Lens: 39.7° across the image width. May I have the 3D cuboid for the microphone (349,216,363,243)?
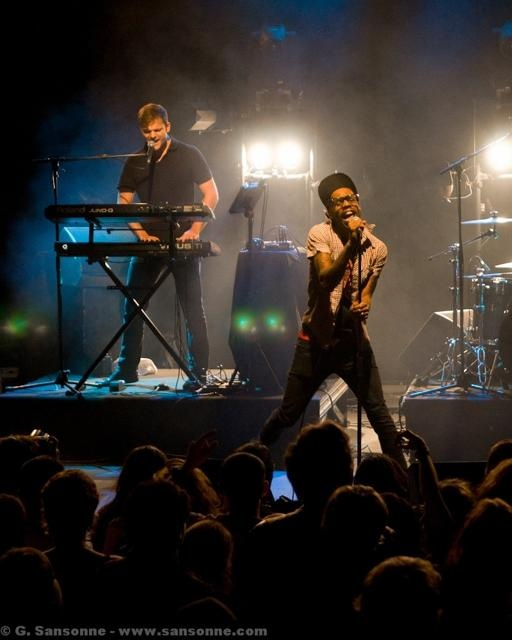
[{"bbox_3d":[0.431,-0.395,3.038,0.035,0.094,0.074,-4,-5,38],"label":"microphone"}]

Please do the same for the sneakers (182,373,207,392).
[{"bbox_3d":[-0.392,0.412,4.629,0.150,0.091,0.319,3,4,4],"label":"sneakers"}]

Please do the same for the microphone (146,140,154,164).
[{"bbox_3d":[-0.700,-1.125,4.705,0.054,0.144,0.246,3,4,-9],"label":"microphone"}]

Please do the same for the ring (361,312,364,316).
[{"bbox_3d":[0.464,-0.030,3.123,0.014,0.017,0.005,15,2,7],"label":"ring"}]
